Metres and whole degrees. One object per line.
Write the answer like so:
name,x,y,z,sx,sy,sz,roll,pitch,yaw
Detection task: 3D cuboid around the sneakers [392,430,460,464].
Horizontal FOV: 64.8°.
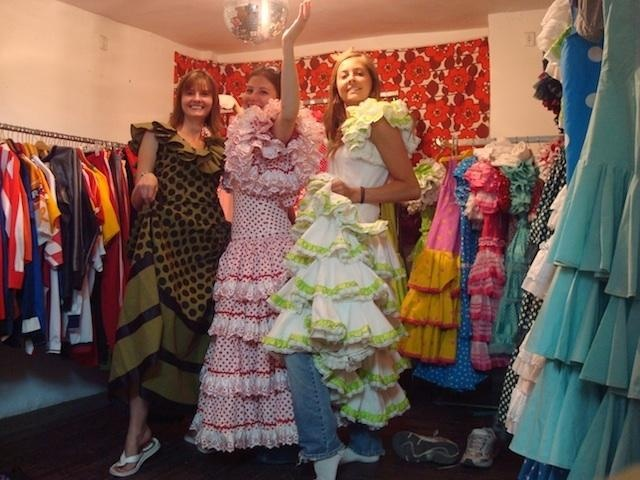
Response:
sneakers,0.546,1.030,2.584,0.322,0.142,0.200,11,-1,10

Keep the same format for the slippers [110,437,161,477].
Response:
slippers,-0.882,1.060,2.449,0.243,0.122,0.121,1,-4,-40

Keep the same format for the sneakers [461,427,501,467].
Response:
sneakers,0.811,1.052,2.555,0.134,0.116,0.297,-3,-3,30

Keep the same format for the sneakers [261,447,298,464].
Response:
sneakers,-0.202,1.045,2.454,0.122,0.051,0.093,-3,-5,4

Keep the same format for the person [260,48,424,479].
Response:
person,0.109,0.075,2.315,0.731,2.017,0.538,1,-4,-39

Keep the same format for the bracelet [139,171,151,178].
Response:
bracelet,-0.857,-0.317,2.466,0.061,0.032,0.044,-1,-3,2
